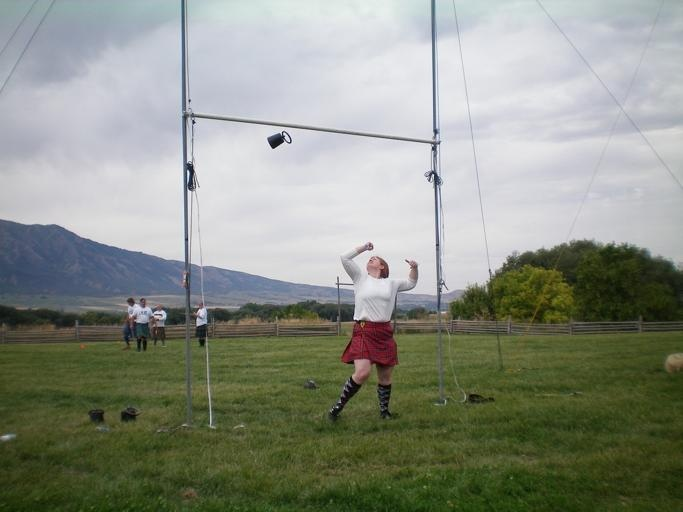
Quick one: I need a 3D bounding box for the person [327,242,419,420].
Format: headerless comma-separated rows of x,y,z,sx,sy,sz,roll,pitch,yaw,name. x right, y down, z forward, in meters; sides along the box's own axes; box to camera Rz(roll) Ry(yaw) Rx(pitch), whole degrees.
0.500,1.190,9.886,1.015,2.779,1.198,-1,-3,37,person

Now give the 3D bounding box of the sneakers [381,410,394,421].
0.726,2.532,9.734,0.180,0.194,0.115,5,-14,-1,sneakers

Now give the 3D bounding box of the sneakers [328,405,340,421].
-0.117,2.458,9.658,0.200,0.225,0.338,1,-3,-2,sneakers
